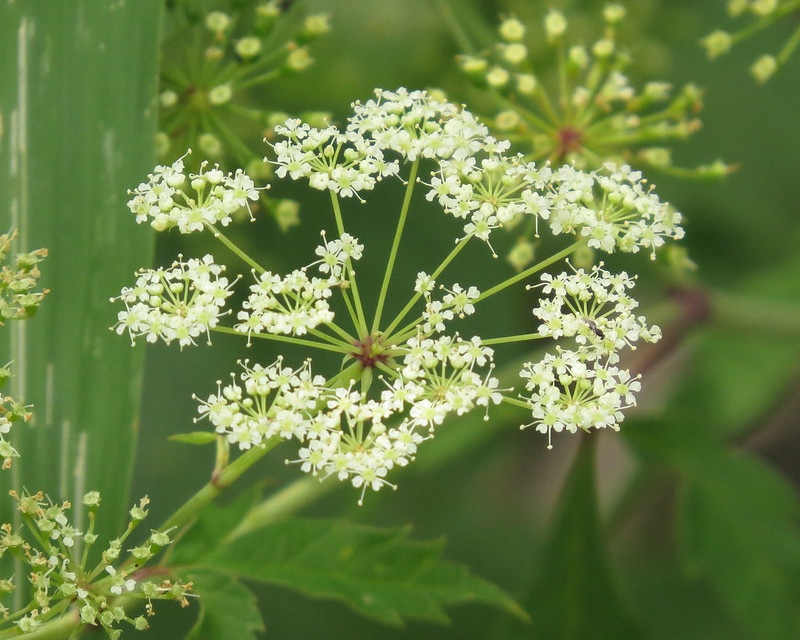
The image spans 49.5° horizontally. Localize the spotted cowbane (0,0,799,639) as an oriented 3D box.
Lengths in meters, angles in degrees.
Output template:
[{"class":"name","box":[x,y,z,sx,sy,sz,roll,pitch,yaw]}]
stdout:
[{"class":"spotted cowbane","box":[-0.027,-0.062,1.968,1.413,1.176,0.981,-22,-71,20]}]
